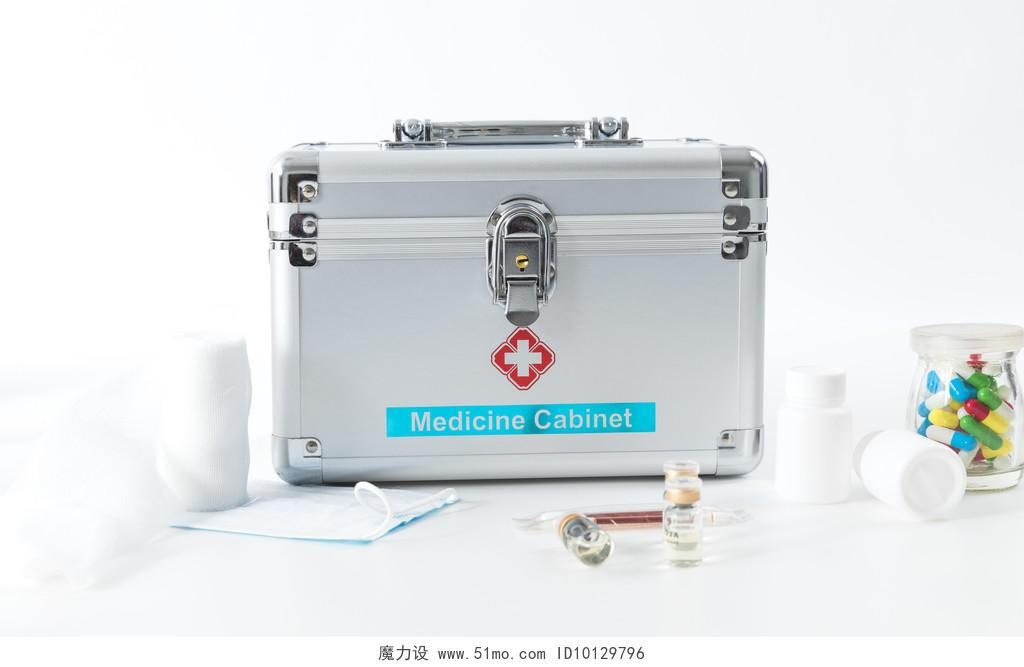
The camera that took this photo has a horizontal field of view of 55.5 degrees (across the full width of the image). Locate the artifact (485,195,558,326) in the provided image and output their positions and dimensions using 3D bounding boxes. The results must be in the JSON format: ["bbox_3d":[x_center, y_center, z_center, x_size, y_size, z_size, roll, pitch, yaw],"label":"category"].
[{"bbox_3d":[0.022,-0.132,1.821,0.132,0.236,0.079,-1,0,-2],"label":"artifact"}]

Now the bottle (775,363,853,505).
[{"bbox_3d":[0.559,0.184,1.815,0.152,0.242,0.149,0,8,0],"label":"bottle"}]

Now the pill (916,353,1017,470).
[{"bbox_3d":[0.852,0.131,1.833,0.130,0.219,0.176,2,3,43],"label":"pill"}]

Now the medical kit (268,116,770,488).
[{"bbox_3d":[0.022,-0.042,1.830,0.909,0.535,0.680,-3,-69,-6],"label":"medical kit"}]

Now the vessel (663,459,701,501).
[{"bbox_3d":[0.277,0.241,1.615,0.062,0.061,0.061,0,3,-2],"label":"vessel"}]
